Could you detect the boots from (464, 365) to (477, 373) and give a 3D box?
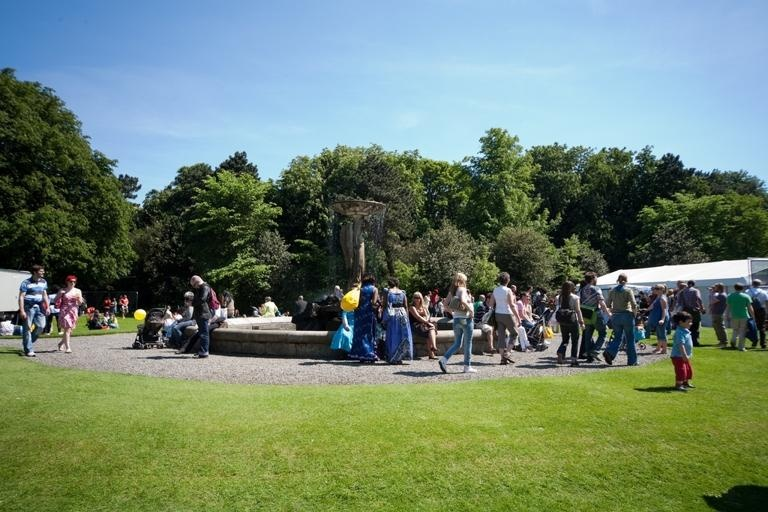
[{"bbox_3d":[2.038,2.634,13.386,0.338,0.240,0.137,-2,-2,-5],"label":"boots"}]

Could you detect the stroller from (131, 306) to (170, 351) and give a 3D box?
[{"bbox_3d":[-7.748,2.386,18.811,1.046,1.699,1.362,4,-6,-32],"label":"stroller"}]

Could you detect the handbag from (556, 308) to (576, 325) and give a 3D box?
[{"bbox_3d":[4.622,1.510,14.488,0.399,0.360,0.162,-5,-10,28],"label":"handbag"}]

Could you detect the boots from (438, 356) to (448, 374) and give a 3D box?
[{"bbox_3d":[1.327,2.536,13.257,0.145,0.438,0.250,-5,17,21],"label":"boots"}]

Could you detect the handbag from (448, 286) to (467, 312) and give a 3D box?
[{"bbox_3d":[1.668,0.981,13.017,0.430,0.554,0.253,1,3,12],"label":"handbag"}]

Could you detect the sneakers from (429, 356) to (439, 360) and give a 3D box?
[{"bbox_3d":[1.337,2.763,15.577,0.091,0.099,0.243,5,-14,-38],"label":"sneakers"}]

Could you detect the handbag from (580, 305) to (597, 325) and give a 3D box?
[{"bbox_3d":[5.212,1.488,14.680,0.354,0.434,0.601,-1,1,7],"label":"handbag"}]
